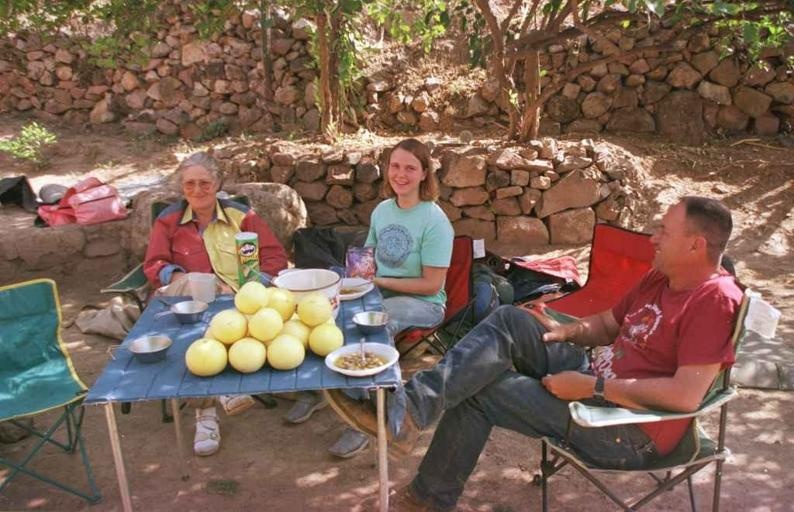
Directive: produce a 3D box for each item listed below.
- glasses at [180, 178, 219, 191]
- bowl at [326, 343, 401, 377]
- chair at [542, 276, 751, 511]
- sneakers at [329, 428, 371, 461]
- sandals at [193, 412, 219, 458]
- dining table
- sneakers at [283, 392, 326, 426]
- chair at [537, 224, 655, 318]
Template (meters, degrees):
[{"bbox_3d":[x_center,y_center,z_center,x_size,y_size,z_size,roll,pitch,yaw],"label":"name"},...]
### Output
[{"bbox_3d":[-1.570,-0.568,5.060,0.304,0.125,0.145,-7,19,-17],"label":"glasses"},{"bbox_3d":[-0.190,0.624,3.786,0.418,0.414,0.086,-4,53,4],"label":"bowl"},{"bbox_3d":[1.623,0.956,4.117,1.122,1.482,1.419,1,10,2],"label":"chair"},{"bbox_3d":[-0.355,1.405,4.718,0.244,0.075,0.262,18,32,33],"label":"sneakers"},{"bbox_3d":[-1.425,1.325,4.736,0.149,0.161,0.385,-3,9,-15],"label":"sandals"},{"bbox_3d":[-1.055,1.010,4.556,1.868,1.354,1.530,-2,25,-7],"label":"dining table"},{"bbox_3d":[-0.743,1.216,5.058,0.161,0.149,0.401,-5,6,34],"label":"sneakers"},{"bbox_3d":[1.725,0.155,5.398,0.864,0.585,0.806,-25,33,-22],"label":"chair"}]
